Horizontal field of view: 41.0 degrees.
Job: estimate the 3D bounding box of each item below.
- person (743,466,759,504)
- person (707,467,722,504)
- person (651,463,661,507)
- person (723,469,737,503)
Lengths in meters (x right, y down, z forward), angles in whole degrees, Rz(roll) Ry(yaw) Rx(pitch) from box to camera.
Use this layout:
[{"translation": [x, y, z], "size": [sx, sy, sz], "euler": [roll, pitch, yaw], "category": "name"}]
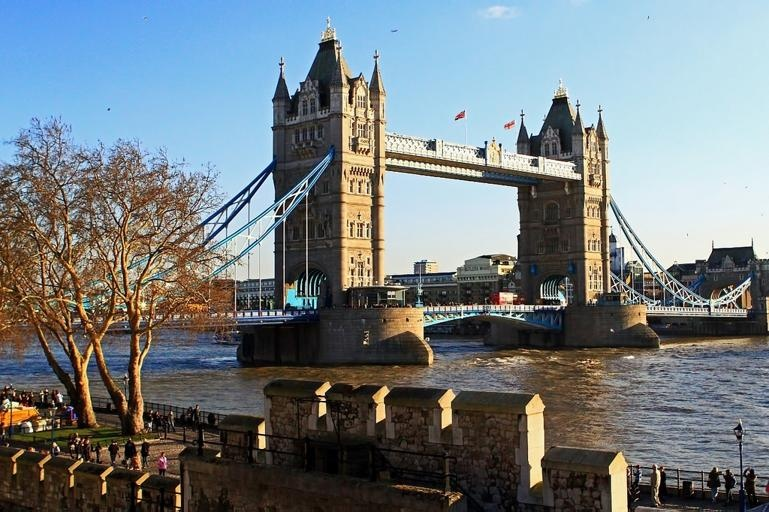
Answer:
[{"translation": [13.890, 8.681, 39.020], "size": [0.397, 1.176, 1.147], "euler": [-3, -4, 19], "category": "person"}, {"translation": [12.655, 8.698, 39.611], "size": [0.431, 1.105, 1.668], "euler": [-3, -4, 15], "category": "person"}, {"translation": [10.124, 8.483, 38.432], "size": [0.394, 1.293, 1.839], "euler": [-3, -4, 15], "category": "person"}, {"translation": [13.183, 8.704, 39.353], "size": [0.322, 1.112, 1.619], "euler": [-3, -4, 18], "category": "person"}]
